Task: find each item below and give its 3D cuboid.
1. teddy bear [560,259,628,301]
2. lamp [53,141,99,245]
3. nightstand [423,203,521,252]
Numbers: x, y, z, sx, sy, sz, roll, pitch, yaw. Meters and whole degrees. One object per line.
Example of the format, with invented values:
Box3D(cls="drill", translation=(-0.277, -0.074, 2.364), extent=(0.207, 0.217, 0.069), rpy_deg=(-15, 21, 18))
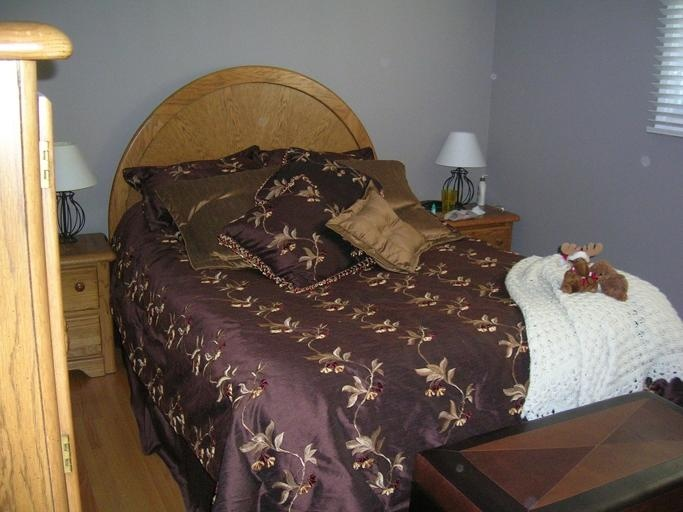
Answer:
Box3D(cls="teddy bear", translation=(1.079, 0.094, 2.392), extent=(0.274, 0.134, 0.163), rpy_deg=(13, 20, 24))
Box3D(cls="lamp", translation=(-1.544, -0.349, 3.060), extent=(0.345, 0.507, 0.309), rpy_deg=(-1, 4, -11))
Box3D(cls="nightstand", translation=(0.963, -0.318, 4.064), extent=(0.536, 0.448, 0.364), rpy_deg=(-9, 21, -26))
